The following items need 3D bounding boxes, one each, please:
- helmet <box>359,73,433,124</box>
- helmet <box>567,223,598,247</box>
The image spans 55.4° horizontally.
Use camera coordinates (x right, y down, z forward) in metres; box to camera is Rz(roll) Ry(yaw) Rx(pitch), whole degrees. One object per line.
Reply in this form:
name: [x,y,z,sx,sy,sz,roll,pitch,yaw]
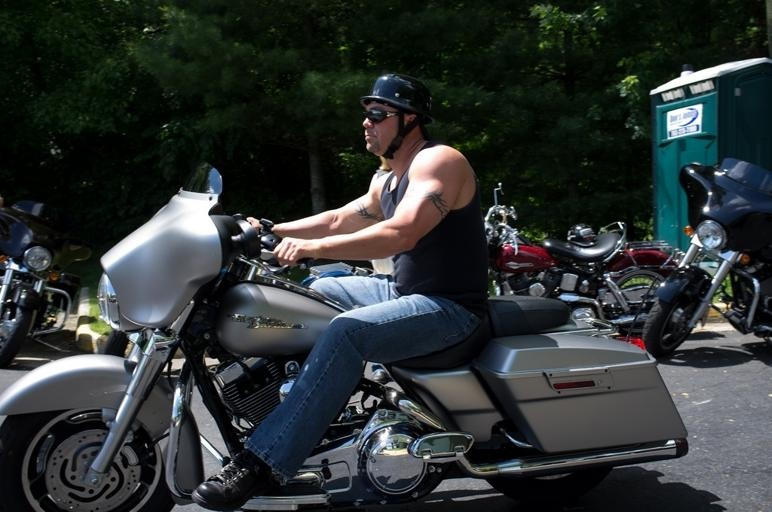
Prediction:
helmet: [0.082,-1.112,5.105,0.585,0.259,0.427,-2,22,-40]
helmet: [2.398,-0.184,8.809,0.347,0.283,0.245,-17,27,-2]
